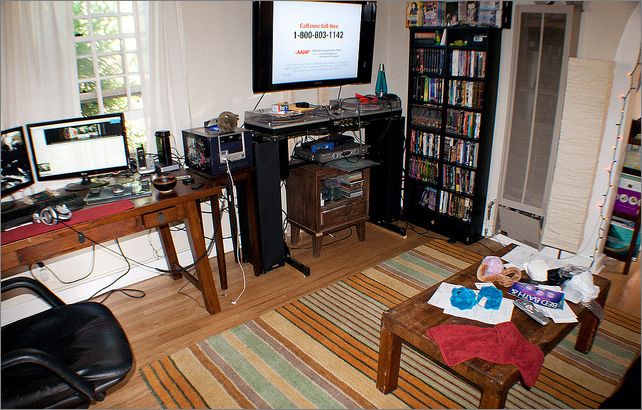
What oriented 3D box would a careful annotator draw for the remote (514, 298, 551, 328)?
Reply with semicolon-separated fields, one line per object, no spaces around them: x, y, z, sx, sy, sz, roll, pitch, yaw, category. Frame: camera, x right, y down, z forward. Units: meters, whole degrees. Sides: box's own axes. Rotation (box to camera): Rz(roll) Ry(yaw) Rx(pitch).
1.424;0.726;2.936;0.107;0.048;0.184;-13;39;-38;remote

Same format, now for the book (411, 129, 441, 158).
1.120;-0.655;4.578;0.275;0.225;0.096;22;37;37;book

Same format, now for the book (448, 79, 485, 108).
1.401;-1.081;4.291;0.282;0.349;0.379;-17;23;-38;book

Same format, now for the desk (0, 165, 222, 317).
-1.687;0.283;3.440;1.095;0.671;0.520;-25;42;-35;desk

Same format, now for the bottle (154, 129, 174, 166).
-1.362;-0.491;3.754;0.200;0.319;0.155;32;40;31;bottle

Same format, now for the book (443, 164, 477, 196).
1.424;-0.264;4.419;0.258;0.235;0.141;20;37;41;book

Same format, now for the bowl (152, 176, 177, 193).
-1.204;-0.166;3.408;0.145;0.082;0.139;0;18;0;bowl

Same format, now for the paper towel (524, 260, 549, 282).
1.579;0.482;3.204;0.143;0.101;0.144;17;30;42;paper towel

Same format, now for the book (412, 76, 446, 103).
1.108;-1.185;4.422;0.239;0.215;0.136;24;34;36;book

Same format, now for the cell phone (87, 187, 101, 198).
-1.757;-0.098;3.374;0.079;0.025;0.108;-9;36;-26;cell phone

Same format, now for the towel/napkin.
1.015;0.949;2.745;0.606;0.219;0.387;-5;34;-9;towel/napkin

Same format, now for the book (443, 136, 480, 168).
1.419;-0.540;4.345;0.279;0.234;0.100;20;39;32;book

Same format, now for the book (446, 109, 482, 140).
1.419;-0.797;4.273;0.142;0.213;0.261;-27;34;-37;book

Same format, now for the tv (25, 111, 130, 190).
-1.937;-0.431;3.430;0.611;0.469;0.141;-11;26;-30;tv

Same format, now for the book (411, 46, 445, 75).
1.077;-1.452;4.384;0.089;0.244;0.354;-25;32;-38;book

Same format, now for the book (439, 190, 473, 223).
1.412;0.006;4.502;0.276;0.239;0.150;18;46;36;book

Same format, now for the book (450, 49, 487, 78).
1.417;-1.354;4.135;0.254;0.226;0.141;21;36;36;book
